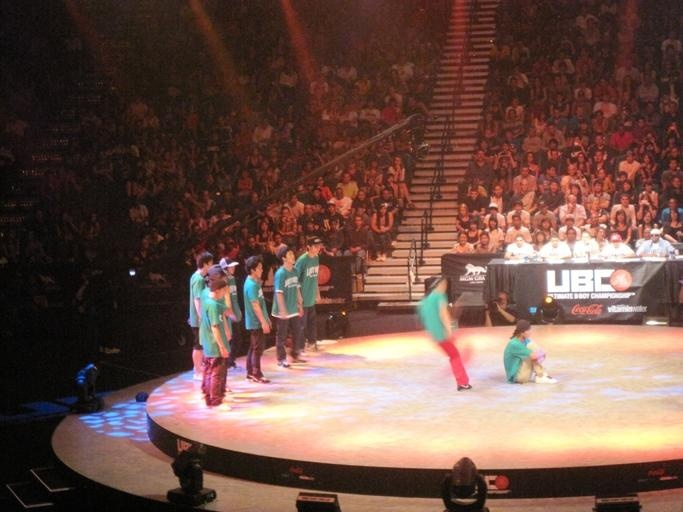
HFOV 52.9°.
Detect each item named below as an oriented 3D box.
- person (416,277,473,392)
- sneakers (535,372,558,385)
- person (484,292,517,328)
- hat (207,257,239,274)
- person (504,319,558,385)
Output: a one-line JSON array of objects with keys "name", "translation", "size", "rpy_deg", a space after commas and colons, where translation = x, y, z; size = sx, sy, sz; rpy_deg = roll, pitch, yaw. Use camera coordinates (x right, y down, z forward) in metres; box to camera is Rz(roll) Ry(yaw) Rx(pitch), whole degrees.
[{"name": "person", "translation": [1.553, 1.221, 10.414], "size": [0.709, 1.896, 0.405], "rpy_deg": [-14, 15, -39]}, {"name": "sneakers", "translation": [3.300, 1.972, 11.017], "size": [0.393, 0.173, 0.143], "rpy_deg": [-1, 3, 7]}, {"name": "person", "translation": [3.630, 1.202, 15.662], "size": [0.719, 0.833, 0.425], "rpy_deg": [-3, 11, 11]}, {"name": "hat", "translation": [-1.981, 0.180, 11.545], "size": [0.527, 0.309, 0.348], "rpy_deg": [-3, 9, -4]}, {"name": "person", "translation": [3.034, 1.541, 11.071], "size": [0.768, 1.023, 0.540], "rpy_deg": [-1, 8, 32]}]
